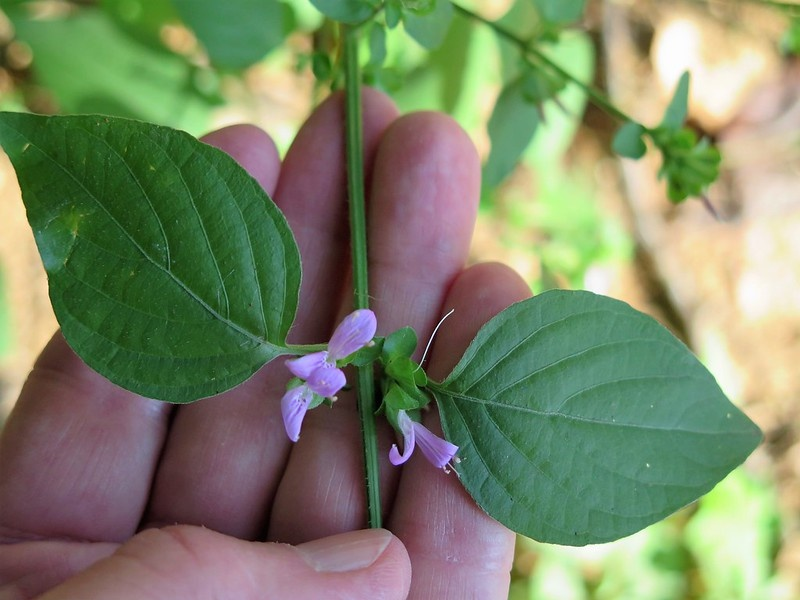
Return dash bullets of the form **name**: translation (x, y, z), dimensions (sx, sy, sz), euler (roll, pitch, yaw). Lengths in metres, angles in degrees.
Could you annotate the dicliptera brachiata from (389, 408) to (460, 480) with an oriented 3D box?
- **dicliptera brachiata**: translation (0.059, 0.346, 1.807), dimensions (0.053, 0.180, 0.112), euler (21, 79, 31)
